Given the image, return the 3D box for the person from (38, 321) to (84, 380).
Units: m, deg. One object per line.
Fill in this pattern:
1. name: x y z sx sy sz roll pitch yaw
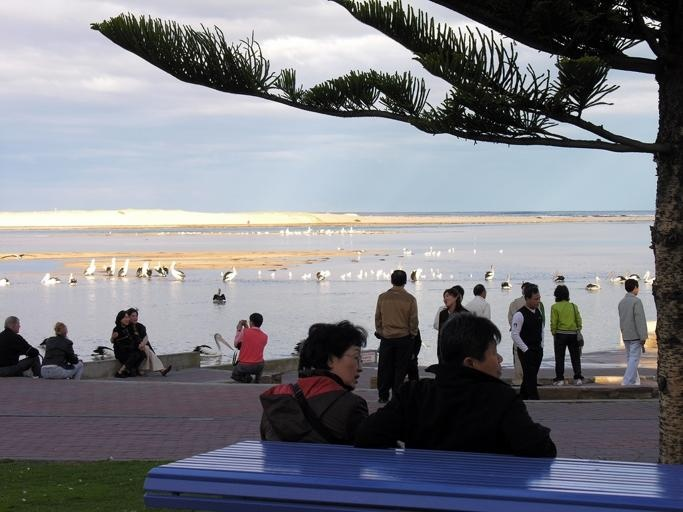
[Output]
1. person: -5.318 1.794 16.878 0.805 1.055 0.601 -10 -1 -34

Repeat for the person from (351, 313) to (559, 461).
1. person: 0.785 0.969 6.472 1.255 1.058 0.288 -10 0 13

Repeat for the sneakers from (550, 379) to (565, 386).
1. sneakers: 3.805 2.227 15.952 0.106 0.098 0.237 -1 3 -29

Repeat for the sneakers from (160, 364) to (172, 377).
1. sneakers: -3.730 2.396 19.053 0.129 0.350 0.152 1 35 -49

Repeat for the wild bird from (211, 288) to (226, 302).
1. wild bird: -6.020 2.034 43.879 0.713 0.999 0.450 -2 5 5

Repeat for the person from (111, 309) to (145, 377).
1. person: -4.481 1.811 18.650 0.652 1.382 0.536 -11 0 -21

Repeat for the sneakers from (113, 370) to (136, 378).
1. sneakers: -4.485 2.414 18.547 0.448 0.169 0.136 -5 -6 31
